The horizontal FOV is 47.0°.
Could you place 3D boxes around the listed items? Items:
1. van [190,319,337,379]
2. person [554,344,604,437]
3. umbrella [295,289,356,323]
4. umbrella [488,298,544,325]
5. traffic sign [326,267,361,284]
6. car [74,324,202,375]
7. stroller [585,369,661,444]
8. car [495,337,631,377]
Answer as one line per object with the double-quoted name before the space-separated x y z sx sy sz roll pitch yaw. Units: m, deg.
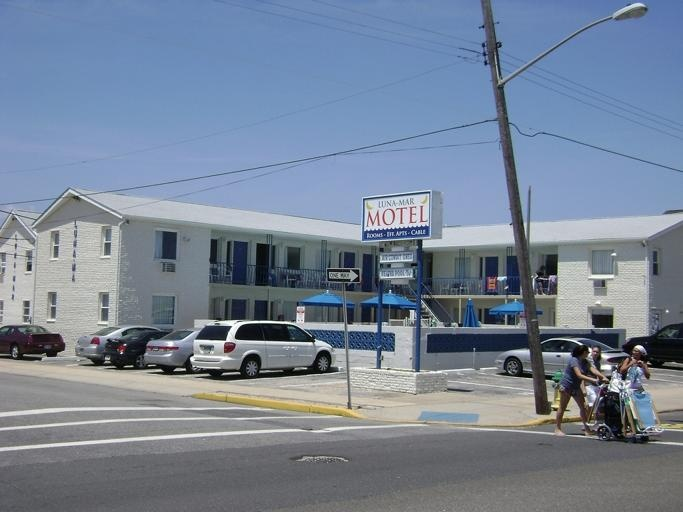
"van" -2.543 3.205 26.915 5.098 1.854 1.438 6 -10 -40
"person" 5.312 2.944 17.184 1.282 1.866 0.763 -5 -10 33
"umbrella" -0.748 2.327 36.845 1.740 1.558 2.019 3 -6 -43
"umbrella" 9.028 2.707 39.658 2.562 0.934 2.531 6 -9 -40
"traffic sign" 0.034 0.511 19.807 0.436 0.408 0.968 7 -10 -43
"car" -7.311 3.406 29.066 1.908 1.559 5.007 -3 -4 36
"stroller" 6.051 3.116 16.958 1.305 1.578 1.188 0 -5 -37
"car" 8.059 3.732 28.672 2.165 1.395 4.914 9 -8 -44
